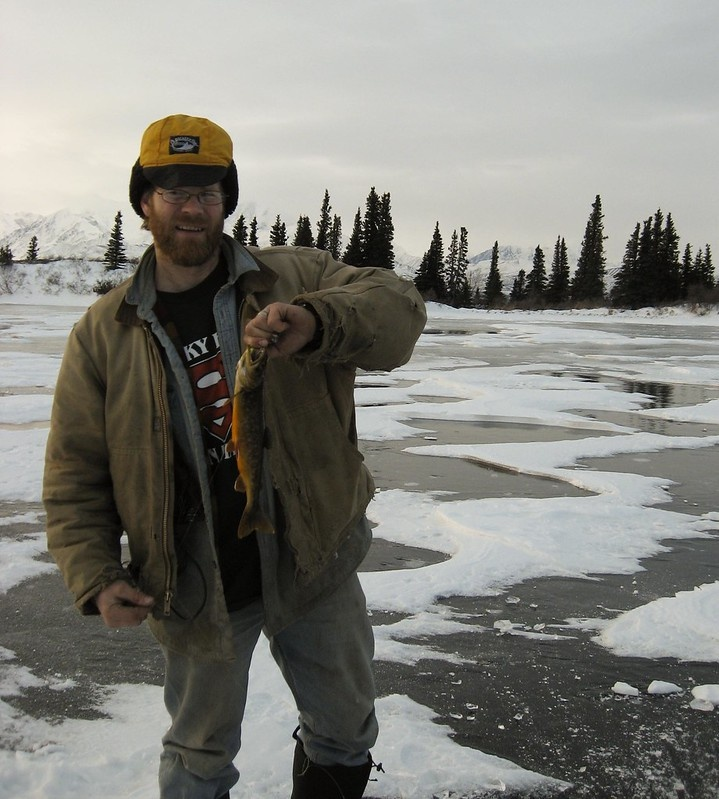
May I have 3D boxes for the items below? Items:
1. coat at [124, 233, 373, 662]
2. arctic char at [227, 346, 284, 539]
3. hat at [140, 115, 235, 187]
[{"bbox_3d":[-0.337,0.129,2.214,0.791,1.211,0.514,2,11,1],"label":"coat"},{"bbox_3d":[-0.292,0.139,2.028,0.117,0.584,0.325,0,11,-9],"label":"arctic char"},{"bbox_3d":[-0.518,-0.776,2.252,0.309,0.174,0.355,-2,34,-6],"label":"hat"}]
